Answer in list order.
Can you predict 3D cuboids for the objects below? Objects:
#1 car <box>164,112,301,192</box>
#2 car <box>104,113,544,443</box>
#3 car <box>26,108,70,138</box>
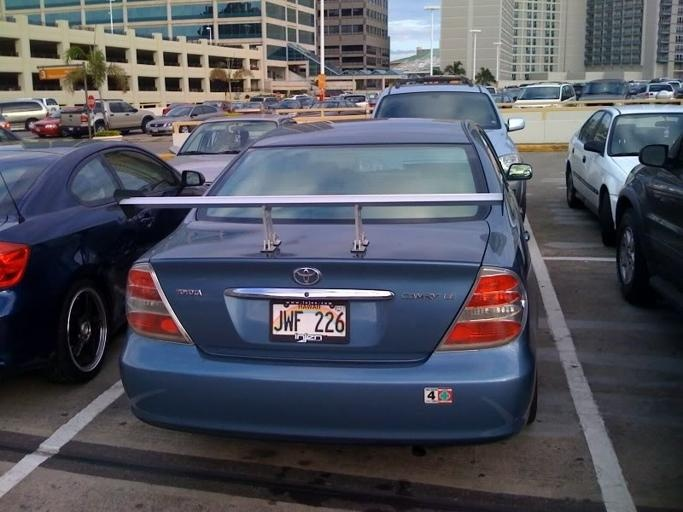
[{"bbox_3d":[-2.227,-1.952,9.309,1.695,1.060,2.443,0,15,7],"label":"car"},{"bbox_3d":[0.111,-0.201,3.477,1.518,0.796,2.642,1,18,10],"label":"car"},{"bbox_3d":[-18.788,-8.433,34.256,1.576,1.729,2.545,-16,22,-35],"label":"car"}]
